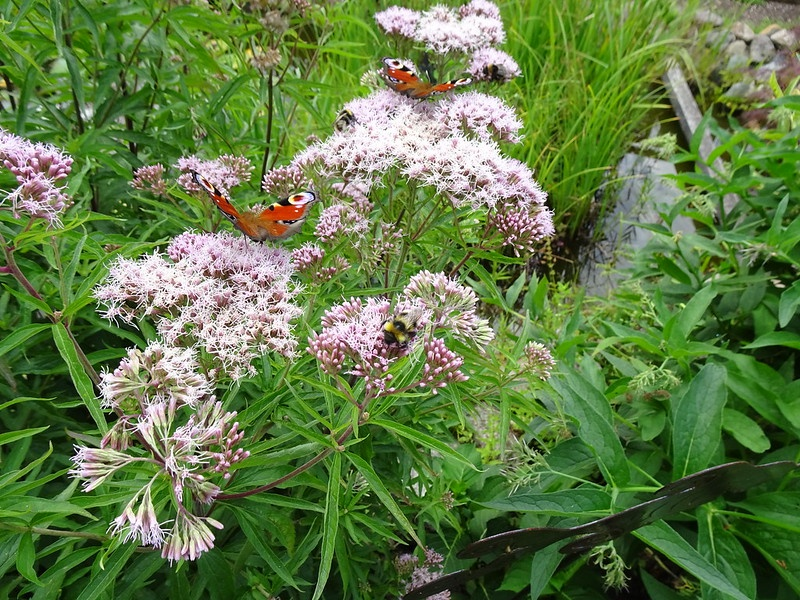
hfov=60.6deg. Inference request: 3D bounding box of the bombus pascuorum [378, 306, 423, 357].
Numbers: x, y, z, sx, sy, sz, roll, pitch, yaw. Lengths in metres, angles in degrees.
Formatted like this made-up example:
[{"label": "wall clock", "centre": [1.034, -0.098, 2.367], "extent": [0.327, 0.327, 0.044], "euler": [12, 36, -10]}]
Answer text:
[{"label": "bombus pascuorum", "centre": [-0.004, 0.142, 3.356], "extent": [0.187, 0.202, 0.168], "euler": [8, 56, -2]}]
